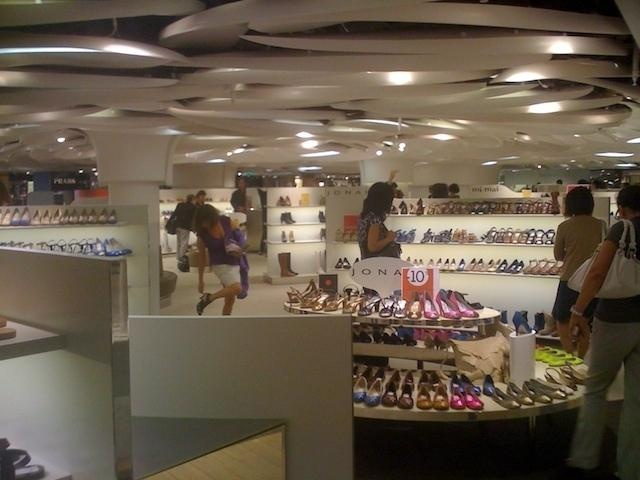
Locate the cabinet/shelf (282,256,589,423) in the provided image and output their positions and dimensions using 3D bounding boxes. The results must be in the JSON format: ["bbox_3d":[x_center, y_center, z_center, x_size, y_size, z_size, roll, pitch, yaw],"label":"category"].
[{"bbox_3d":[1.166,1.040,4.090,1.763,0.553,1.778,-1,2,11],"label":"cabinet/shelf"}]

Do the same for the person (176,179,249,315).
[{"bbox_3d":[-1.436,0.323,6.692,0.732,1.705,0.741,-4,7,-26],"label":"person"}]

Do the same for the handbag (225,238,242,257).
[{"bbox_3d":[-1.198,0.117,6.412,0.235,0.174,0.093,12,36,20],"label":"handbag"}]

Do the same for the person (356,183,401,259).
[{"bbox_3d":[0.752,-0.237,5.940,0.529,0.991,0.413,-1,6,4],"label":"person"}]
